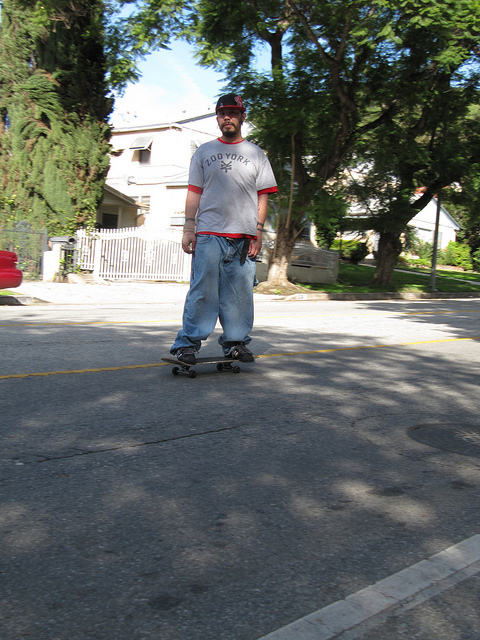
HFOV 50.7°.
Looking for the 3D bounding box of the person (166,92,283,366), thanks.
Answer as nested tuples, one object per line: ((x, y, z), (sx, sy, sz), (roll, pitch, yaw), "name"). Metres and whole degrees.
((-0.144, -0.935, 5.448), (0.937, 2.838, 0.426), (5, 4, -12), "person")

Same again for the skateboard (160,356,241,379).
((-0.383, 0.495, 5.665), (0.997, 0.155, 0.308), (2, 12, -40), "skateboard")

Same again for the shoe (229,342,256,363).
((0.035, 0.369, 5.776), (0.274, 0.234, 0.145), (3, 4, -21), "shoe")

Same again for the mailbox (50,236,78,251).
((-6.643, -2.937, 19.043), (0.713, 0.487, 1.395), (4, 4, -7), "mailbox")

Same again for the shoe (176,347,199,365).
((-0.567, 0.375, 5.404), (0.225, 0.175, 0.120), (5, 4, -5), "shoe")

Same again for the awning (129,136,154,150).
((-7.573, -13.658, 38.849), (1.471, 0.338, 1.458), (-2, 45, 17), "awning")

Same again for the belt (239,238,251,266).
((0.052, -0.745, 5.480), (0.074, 0.335, 0.042), (14, -5, -16), "belt")
